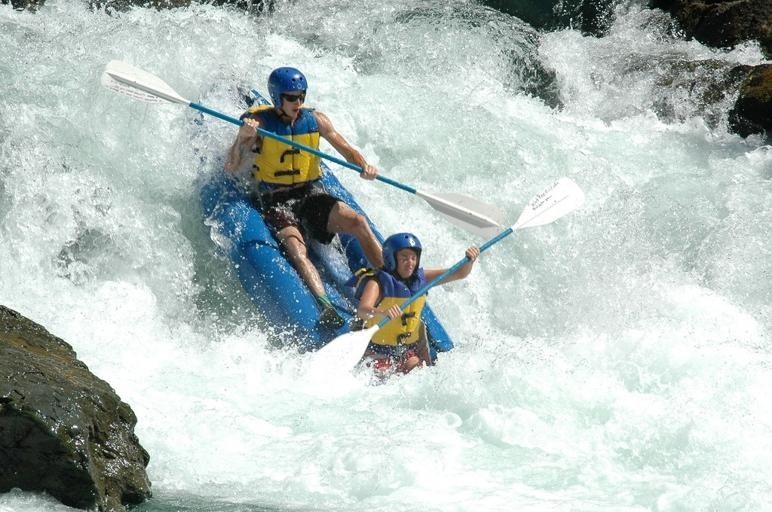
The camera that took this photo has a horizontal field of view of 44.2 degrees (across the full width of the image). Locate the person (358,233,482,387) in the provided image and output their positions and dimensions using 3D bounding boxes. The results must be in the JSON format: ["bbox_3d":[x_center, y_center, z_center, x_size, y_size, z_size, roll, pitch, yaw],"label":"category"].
[{"bbox_3d":[0.183,0.403,8.633,1.009,1.225,0.559,-8,22,-32],"label":"person"}]

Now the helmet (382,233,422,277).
[{"bbox_3d":[0.141,-0.021,8.585,0.285,0.346,0.366,6,-11,-41],"label":"helmet"}]

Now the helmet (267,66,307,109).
[{"bbox_3d":[-0.943,-1.630,9.093,0.413,0.330,0.301,13,21,38],"label":"helmet"}]

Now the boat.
[{"bbox_3d":[-0.982,0.008,9.269,1.126,3.472,0.600,-34,-13,-1],"label":"boat"}]

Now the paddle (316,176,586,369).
[{"bbox_3d":[0.647,0.233,9.229,3.601,0.478,0.094,-31,0,-22],"label":"paddle"}]
